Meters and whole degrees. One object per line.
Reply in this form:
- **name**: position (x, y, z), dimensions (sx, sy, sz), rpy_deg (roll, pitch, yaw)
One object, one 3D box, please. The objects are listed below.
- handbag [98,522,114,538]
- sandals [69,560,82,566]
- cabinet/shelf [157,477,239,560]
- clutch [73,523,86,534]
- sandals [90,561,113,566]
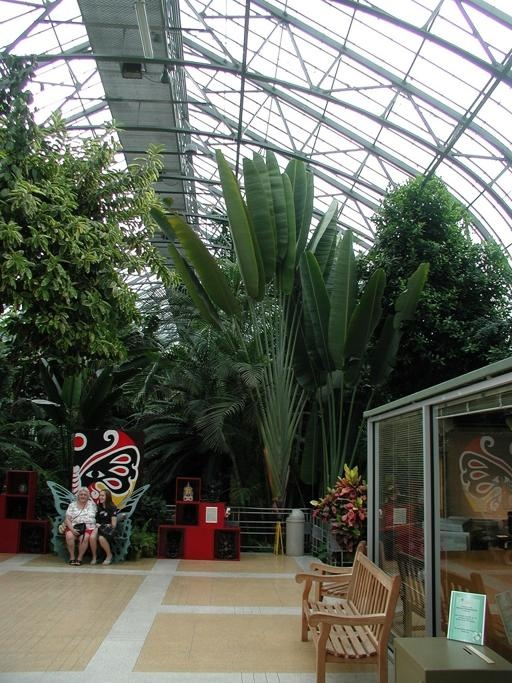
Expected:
- **handbag**: position (-2.350, 2.951, 7.139), dimensions (0.218, 0.211, 0.166), rpy_deg (9, -17, -21)
- **sandals**: position (-2.749, 3.355, 6.968), dimensions (0.180, 0.068, 0.089), rpy_deg (2, -16, 2)
- **cabinet/shelf**: position (-1.021, 3.223, 8.269), dimensions (1.465, 1.273, 0.437), rpy_deg (1, -20, -4)
- **clutch**: position (-2.718, 2.892, 7.109), dimensions (0.180, 0.151, 0.163), rpy_deg (2, -14, 0)
- **sandals**: position (-2.393, 3.414, 7.082), dimensions (0.234, 0.080, 0.120), rpy_deg (13, -20, -18)
